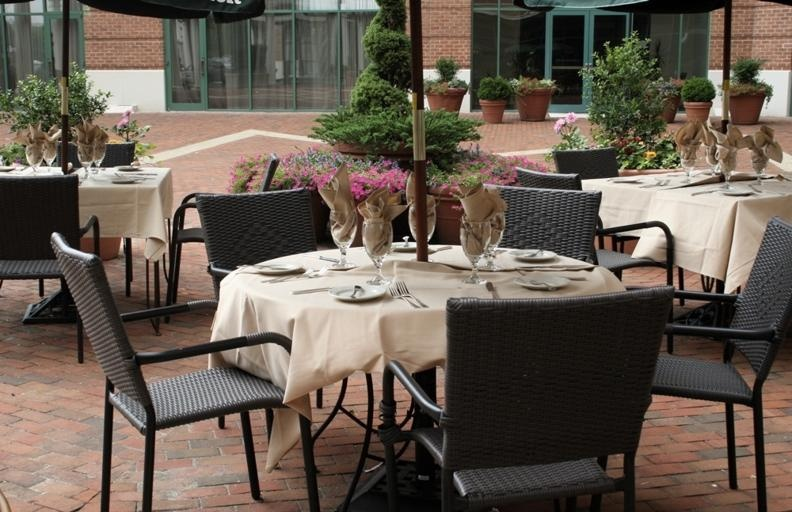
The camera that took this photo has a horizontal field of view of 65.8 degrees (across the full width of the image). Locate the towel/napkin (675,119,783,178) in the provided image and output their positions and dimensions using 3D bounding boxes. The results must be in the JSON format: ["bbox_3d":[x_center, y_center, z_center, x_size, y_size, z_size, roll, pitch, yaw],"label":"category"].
[{"bbox_3d":[2.974,-0.974,5.498,0.786,0.348,0.721,0,17,24],"label":"towel/napkin"}]

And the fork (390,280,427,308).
[{"bbox_3d":[0.049,0.176,2.821,0.073,0.034,0.246,-11,27,-23],"label":"fork"}]

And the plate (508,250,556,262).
[{"bbox_3d":[0.767,-0.009,3.479,0.235,0.034,0.274,-5,12,-19],"label":"plate"}]

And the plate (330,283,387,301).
[{"bbox_3d":[-0.165,0.166,2.815,0.262,0.047,0.200,-3,12,-8],"label":"plate"}]

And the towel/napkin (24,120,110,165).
[{"bbox_3d":[-3.144,-1.065,5.965,0.725,0.270,0.610,0,11,-10],"label":"towel/napkin"}]

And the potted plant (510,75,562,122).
[{"bbox_3d":[4.439,-5.029,19.871,1.646,1.187,1.396,-1,11,-8],"label":"potted plant"}]

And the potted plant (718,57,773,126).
[{"bbox_3d":[10.561,-4.908,18.276,1.089,1.972,1.887,5,15,26],"label":"potted plant"}]

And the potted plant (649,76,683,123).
[{"bbox_3d":[8.099,-4.567,18.598,1.217,1.032,0.926,-7,-3,6],"label":"potted plant"}]

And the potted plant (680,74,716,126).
[{"bbox_3d":[8.768,-4.560,17.837,0.854,1.169,0.771,4,15,21],"label":"potted plant"}]

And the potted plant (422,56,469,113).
[{"bbox_3d":[1.689,-5.457,19.823,1.703,1.565,1.383,-8,20,-18],"label":"potted plant"}]
